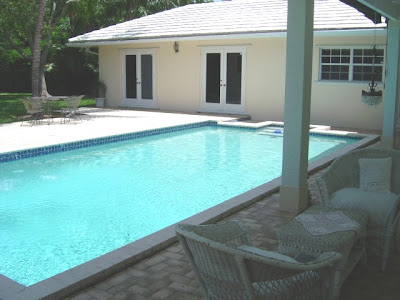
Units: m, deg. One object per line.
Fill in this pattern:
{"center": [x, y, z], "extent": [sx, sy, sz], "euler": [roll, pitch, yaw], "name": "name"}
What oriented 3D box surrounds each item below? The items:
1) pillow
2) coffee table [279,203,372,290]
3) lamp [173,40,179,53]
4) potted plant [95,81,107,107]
{"center": [2.174, 0.311, 3.632], "extent": [0.393, 0.459, 0.179], "euler": [2, -22, 25], "name": "pillow"}
{"center": [1.116, 0.720, 2.660], "extent": [0.598, 0.450, 0.856], "euler": [5, 15, 27], "name": "coffee table"}
{"center": [-1.185, -5.110, 14.622], "extent": [0.306, 0.540, 0.191], "euler": [1, 14, 3], "name": "lamp"}
{"center": [-5.619, -3.201, 16.757], "extent": [0.633, 1.415, 0.744], "euler": [-4, 14, -17], "name": "potted plant"}
